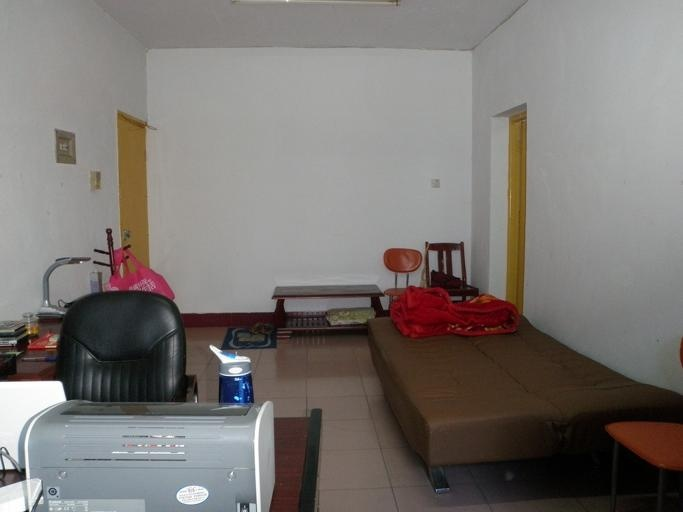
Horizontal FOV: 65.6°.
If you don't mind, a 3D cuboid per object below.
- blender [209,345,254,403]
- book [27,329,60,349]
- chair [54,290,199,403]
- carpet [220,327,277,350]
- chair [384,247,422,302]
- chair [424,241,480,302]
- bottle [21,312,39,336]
[{"bbox_3d":[-0.432,0.491,2.114,0.160,0.226,0.165,0,10,1],"label":"blender"},{"bbox_3d":[-1.741,0.520,3.126,0.138,0.024,0.210,-1,13,-7],"label":"book"},{"bbox_3d":[-1.136,0.447,3.057,0.510,0.798,0.617,-1,6,-9],"label":"chair"},{"bbox_3d":[-0.986,0.885,5.818,0.571,0.057,0.828,-2,11,-8],"label":"carpet"},{"bbox_3d":[0.697,0.220,6.106,0.477,0.797,0.549,0,2,0],"label":"chair"},{"bbox_3d":[1.221,0.221,6.008,0.570,0.710,0.893,1,11,9],"label":"chair"},{"bbox_3d":[-1.941,0.439,3.338,0.110,0.179,0.102,-2,-3,0],"label":"bottle"}]
